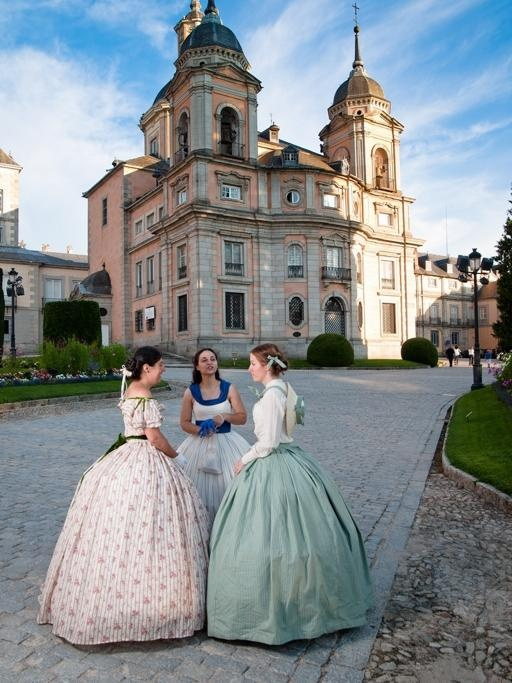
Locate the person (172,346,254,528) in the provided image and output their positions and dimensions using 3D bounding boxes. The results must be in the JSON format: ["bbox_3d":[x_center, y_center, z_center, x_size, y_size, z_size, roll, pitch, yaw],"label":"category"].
[{"bbox_3d":[-0.264,0.629,4.338,0.658,1.110,0.509,0,15,12],"label":"person"}]

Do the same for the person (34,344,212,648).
[{"bbox_3d":[-0.644,0.736,3.709,0.943,1.351,1.107,1,2,-22],"label":"person"}]
